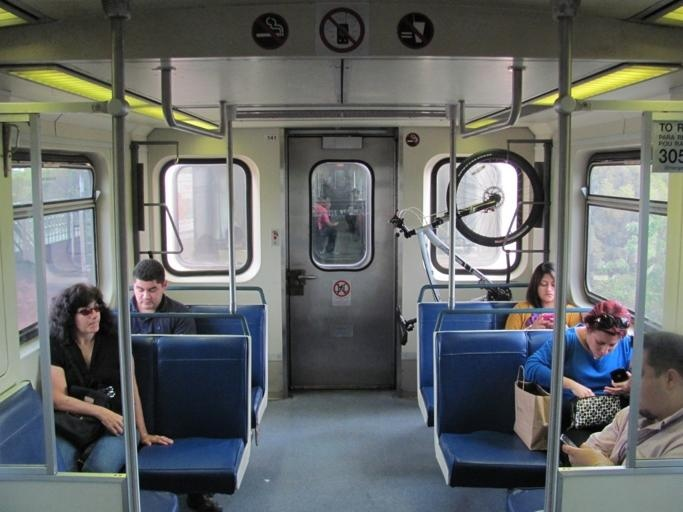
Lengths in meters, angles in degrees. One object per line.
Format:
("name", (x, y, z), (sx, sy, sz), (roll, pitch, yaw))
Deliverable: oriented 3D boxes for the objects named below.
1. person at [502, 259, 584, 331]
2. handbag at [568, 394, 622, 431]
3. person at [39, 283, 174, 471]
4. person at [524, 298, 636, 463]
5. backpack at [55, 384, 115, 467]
("person", (1.662, 0.498, 5.100), (0.550, 0.860, 0.449), (5, -12, 14))
("handbag", (1.607, 0.967, 3.786), (0.118, 0.224, 0.330), (9, -14, -13))
("person", (-1.397, 0.754, 3.674), (0.952, 1.066, 0.590), (3, -18, -35))
("person", (1.641, 0.716, 4.058), (0.661, 0.900, 0.514), (-1, 20, -1))
("backpack", (-1.538, 1.005, 3.746), (0.298, 0.431, 0.151), (14, 3, 8))
